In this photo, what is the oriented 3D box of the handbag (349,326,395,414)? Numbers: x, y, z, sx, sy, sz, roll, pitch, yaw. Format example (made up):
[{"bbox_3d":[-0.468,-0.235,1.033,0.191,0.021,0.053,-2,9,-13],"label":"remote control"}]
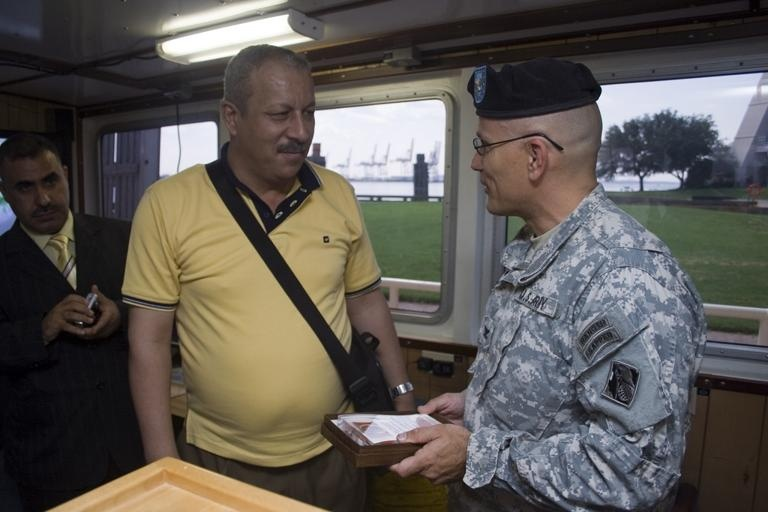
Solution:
[{"bbox_3d":[-0.070,0.632,3.070,0.188,0.269,0.384,-12,53,-4],"label":"handbag"}]

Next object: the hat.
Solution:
[{"bbox_3d":[0.668,-0.751,2.552,0.419,0.174,0.326,-7,19,3],"label":"hat"}]

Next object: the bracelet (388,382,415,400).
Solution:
[{"bbox_3d":[0.100,0.755,3.261,0.104,0.097,0.103,47,13,35],"label":"bracelet"}]
